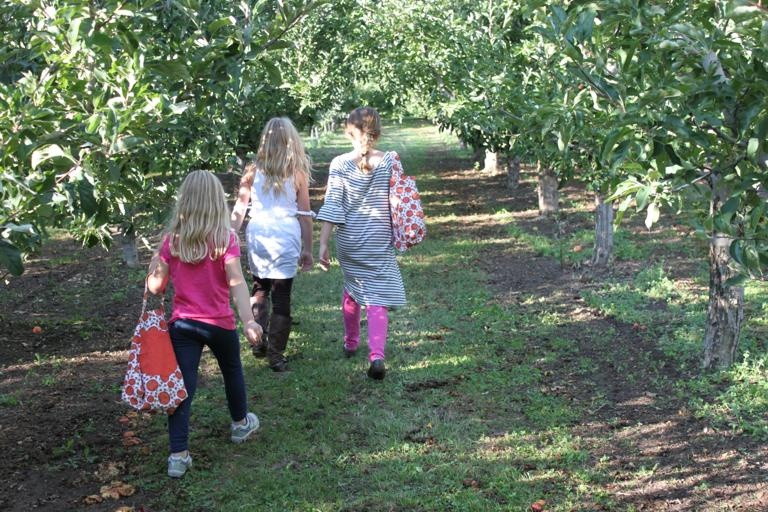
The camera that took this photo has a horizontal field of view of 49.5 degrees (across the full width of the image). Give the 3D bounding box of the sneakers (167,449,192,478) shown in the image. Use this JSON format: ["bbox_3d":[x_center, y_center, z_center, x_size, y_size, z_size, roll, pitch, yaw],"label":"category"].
[{"bbox_3d":[-1.697,1.726,6.977,0.111,0.138,0.299,0,8,-1],"label":"sneakers"}]

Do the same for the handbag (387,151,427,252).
[{"bbox_3d":[0.241,-0.539,8.401,0.364,1.017,0.288,0,9,16],"label":"handbag"}]

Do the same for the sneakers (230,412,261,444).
[{"bbox_3d":[-1.210,1.513,7.448,0.140,0.157,0.333,1,23,23],"label":"sneakers"}]

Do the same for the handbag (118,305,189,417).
[{"bbox_3d":[-1.951,0.863,6.918,0.463,0.849,0.373,-4,8,30],"label":"handbag"}]

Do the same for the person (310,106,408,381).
[{"bbox_3d":[-0.212,-0.136,8.425,0.787,2.694,0.591,0,9,20],"label":"person"}]
